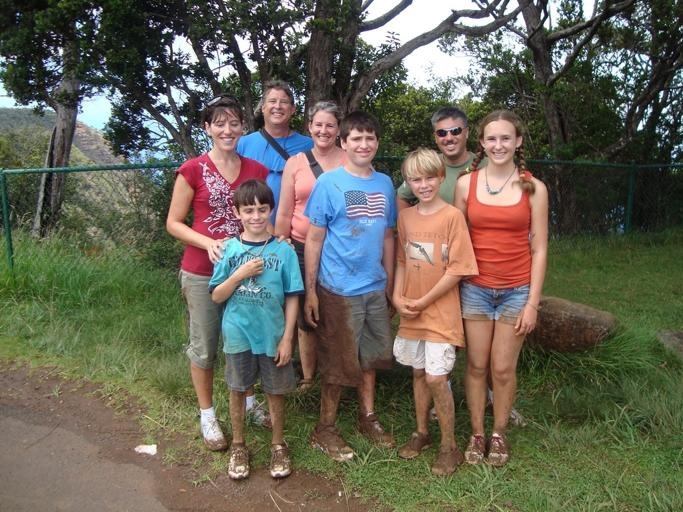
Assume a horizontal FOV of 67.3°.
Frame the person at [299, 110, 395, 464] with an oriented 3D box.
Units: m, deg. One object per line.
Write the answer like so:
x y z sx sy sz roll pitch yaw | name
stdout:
0.066 0.221 3.876 0.708 2.613 0.298 2 3 -5 | person

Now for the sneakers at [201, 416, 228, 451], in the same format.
-1.004 1.344 4.010 0.130 0.154 0.323 -6 29 -40 | sneakers

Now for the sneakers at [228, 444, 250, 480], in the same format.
-0.749 1.493 3.704 0.115 0.110 0.272 2 8 -10 | sneakers

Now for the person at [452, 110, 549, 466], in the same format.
1.124 0.232 3.731 0.640 2.579 0.245 3 3 22 | person

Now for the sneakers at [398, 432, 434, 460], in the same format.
0.555 1.423 3.830 0.268 0.123 0.125 -8 6 -41 | sneakers

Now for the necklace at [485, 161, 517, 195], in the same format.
1.122 -0.522 3.662 0.193 0.184 0.072 3 3 15 | necklace

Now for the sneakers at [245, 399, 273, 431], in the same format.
-0.678 1.299 4.177 0.120 0.127 0.278 -9 11 -39 | sneakers

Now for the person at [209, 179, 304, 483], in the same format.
-0.622 0.535 3.708 0.666 2.162 0.306 1 3 -14 | person

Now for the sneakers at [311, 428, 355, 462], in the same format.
-0.054 1.413 3.905 0.336 0.162 0.167 20 21 27 | sneakers

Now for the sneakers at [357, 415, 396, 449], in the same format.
0.252 1.341 4.014 0.358 0.173 0.127 13 19 42 | sneakers

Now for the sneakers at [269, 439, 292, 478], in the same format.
-0.445 1.489 3.702 0.113 0.111 0.274 0 -2 -3 | sneakers
